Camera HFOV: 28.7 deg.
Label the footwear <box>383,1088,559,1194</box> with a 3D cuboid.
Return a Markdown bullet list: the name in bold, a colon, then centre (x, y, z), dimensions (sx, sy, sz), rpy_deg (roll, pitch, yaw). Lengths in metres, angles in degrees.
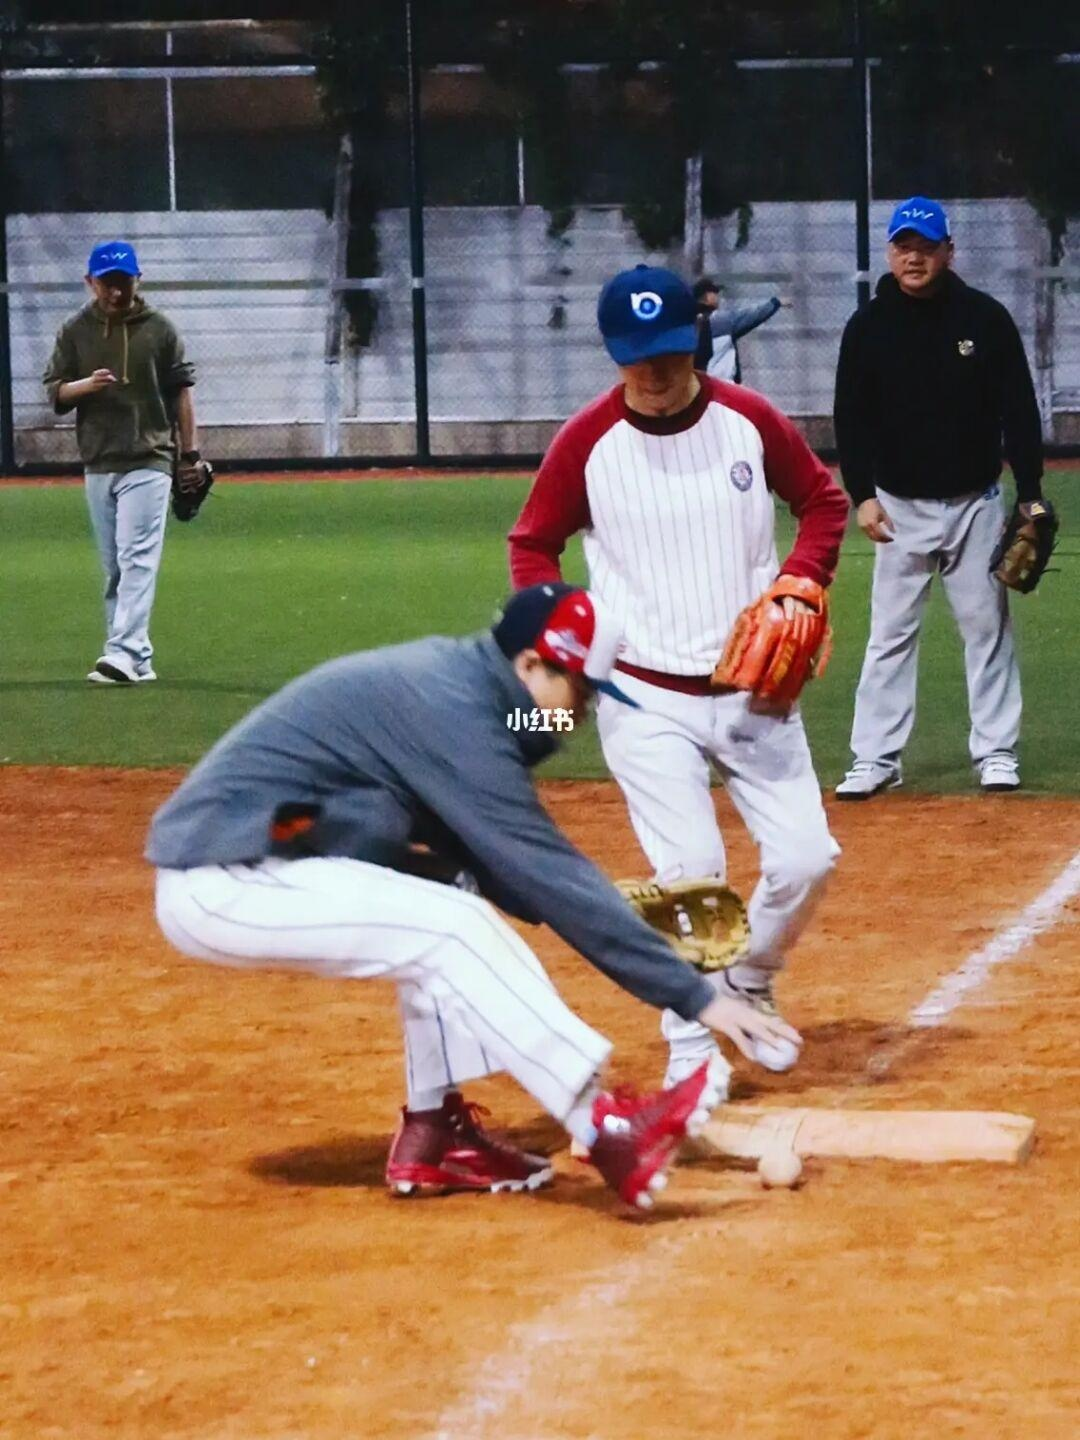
- **footwear**: centre (-0.145, 0.796, 3.990), dimensions (0.381, 0.175, 0.133), rpy_deg (1, -3, -20)

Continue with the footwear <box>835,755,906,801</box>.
- **footwear**: centre (1.074, 0.201, 6.919), dimensions (0.103, 0.091, 0.260), rpy_deg (-9, -3, 31)

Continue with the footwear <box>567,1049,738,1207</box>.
- **footwear**: centre (0.206, 0.675, 3.649), dimensions (0.273, 0.143, 0.262), rpy_deg (-23, 25, 42)

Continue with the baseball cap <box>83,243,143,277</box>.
- **baseball cap**: centre (-1.771, -1.889, 8.806), dimensions (0.242, 0.158, 0.335), rpy_deg (-6, 13, -22)

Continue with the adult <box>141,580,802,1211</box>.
- **adult**: centre (-0.111, 0.304, 3.720), dimensions (1.199, 1.022, 0.748), rpy_deg (2, -4, 26)

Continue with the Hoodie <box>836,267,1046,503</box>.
- **Hoodie**: centre (1.249, -1.029, 6.597), dimensions (0.648, 0.726, 0.258), rpy_deg (2, 7, 5)

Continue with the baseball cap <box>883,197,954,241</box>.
- **baseball cap**: centre (1.138, -1.509, 6.419), dimensions (0.208, 0.141, 0.289), rpy_deg (2, 7, 24)

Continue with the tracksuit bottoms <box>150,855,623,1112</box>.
- **tracksuit bottoms**: centre (-0.275, 0.416, 3.557), dimensions (0.774, 0.322, 0.407), rpy_deg (24, 35, -23)

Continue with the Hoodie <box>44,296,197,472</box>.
- **Hoodie**: centre (-1.760, -1.395, 8.811), dimensions (0.593, 0.739, 0.323), rpy_deg (0, 7, -11)

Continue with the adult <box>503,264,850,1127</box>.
- **adult**: centre (0.325, -0.056, 4.191), dimensions (0.831, 1.637, 0.635), rpy_deg (-5, 10, -9)

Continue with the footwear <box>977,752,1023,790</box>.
- **footwear**: centre (1.492, 0.167, 6.879), dimensions (0.143, 0.089, 0.270), rpy_deg (-3, -2, 4)

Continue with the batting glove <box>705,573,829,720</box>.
- **batting glove**: centre (0.440, -0.162, 4.114), dimensions (0.218, 0.278, 0.116), rpy_deg (27, -26, -17)
